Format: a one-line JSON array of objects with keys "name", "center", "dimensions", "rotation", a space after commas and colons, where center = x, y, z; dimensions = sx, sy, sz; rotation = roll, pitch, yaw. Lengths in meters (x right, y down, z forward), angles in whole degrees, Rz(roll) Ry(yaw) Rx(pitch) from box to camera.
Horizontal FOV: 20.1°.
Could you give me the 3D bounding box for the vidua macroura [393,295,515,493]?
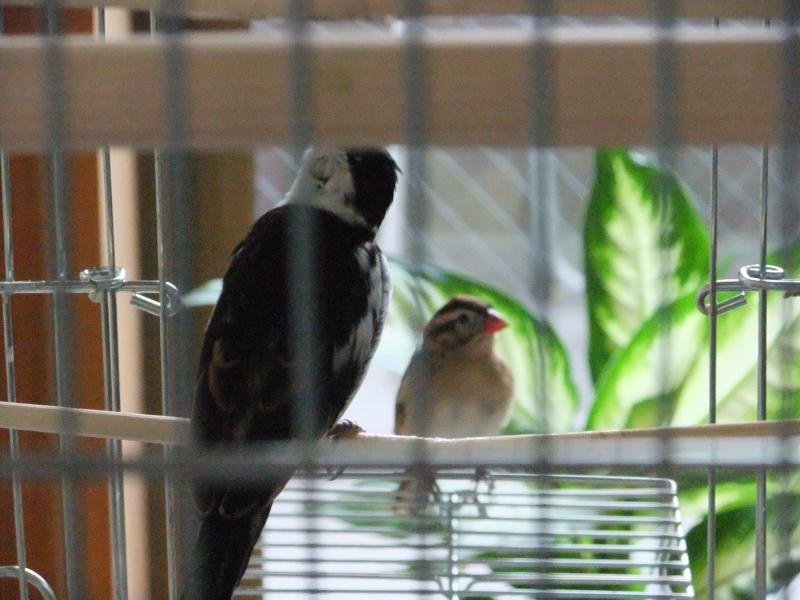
[{"name": "vidua macroura", "center": [0.041, 0.093, 2.238], "dimensions": [0.123, 0.192, 0.208], "rotation": [3, -4, -21]}]
